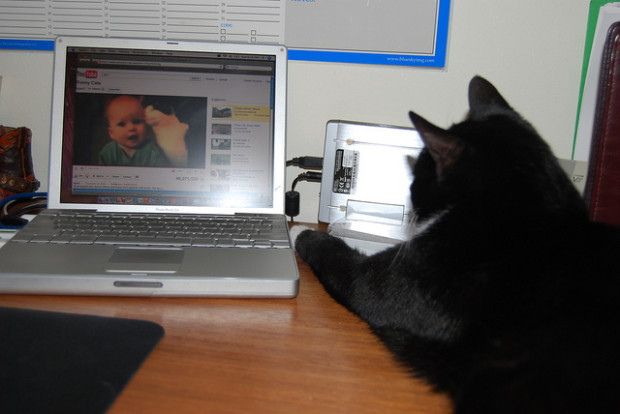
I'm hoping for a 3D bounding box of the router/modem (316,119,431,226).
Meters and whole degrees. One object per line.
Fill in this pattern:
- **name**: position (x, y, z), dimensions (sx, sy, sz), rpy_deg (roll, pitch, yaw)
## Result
- **router/modem**: position (0.148, -0.090, 1.049), dimensions (0.226, 0.214, 0.053), rpy_deg (7, 7, 12)
